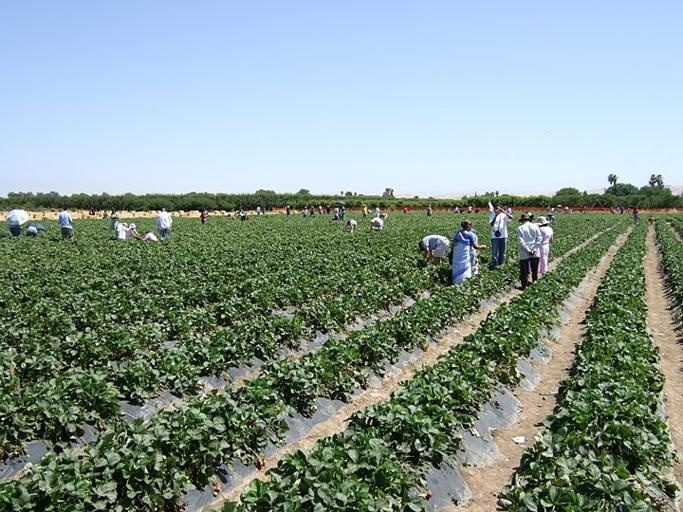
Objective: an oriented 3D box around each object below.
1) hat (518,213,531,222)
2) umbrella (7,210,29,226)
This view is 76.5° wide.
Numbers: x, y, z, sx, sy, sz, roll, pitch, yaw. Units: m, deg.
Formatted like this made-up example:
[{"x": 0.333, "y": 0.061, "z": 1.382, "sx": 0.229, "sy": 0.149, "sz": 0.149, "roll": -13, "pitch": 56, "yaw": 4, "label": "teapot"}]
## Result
[{"x": 5.911, "y": -1.243, "z": 14.006, "sx": 0.346, "sy": 0.163, "sz": 0.416, "roll": -1, "pitch": 4, "yaw": 8, "label": "hat"}, {"x": -18.855, "y": -2.218, "z": 25.173, "sx": 0.993, "sy": 0.915, "sz": 0.513, "roll": -3, "pitch": 10, "yaw": 1, "label": "umbrella"}]
